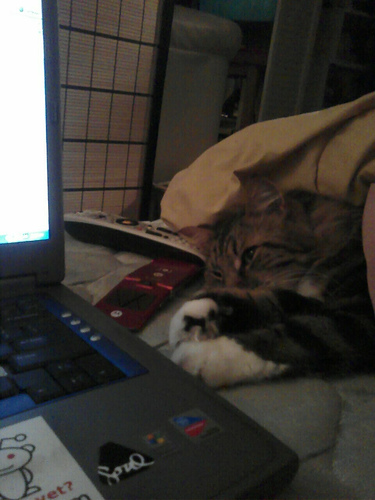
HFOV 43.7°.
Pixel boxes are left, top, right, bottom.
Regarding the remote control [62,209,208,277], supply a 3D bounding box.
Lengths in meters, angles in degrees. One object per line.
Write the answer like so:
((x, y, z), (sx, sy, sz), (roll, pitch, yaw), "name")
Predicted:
((-0.113, -0.028, 1.026), (0.288, 0.064, 0.143), (15, -2, 21), "remote control")

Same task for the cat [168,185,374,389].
((0.150, 0.057, 0.792), (0.302, 0.141, 0.394), (-10, 32, 18), "cat")

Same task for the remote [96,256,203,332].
((-0.072, 0.068, 0.862), (0.088, 0.039, 0.179), (22, 37, 31), "remote")
